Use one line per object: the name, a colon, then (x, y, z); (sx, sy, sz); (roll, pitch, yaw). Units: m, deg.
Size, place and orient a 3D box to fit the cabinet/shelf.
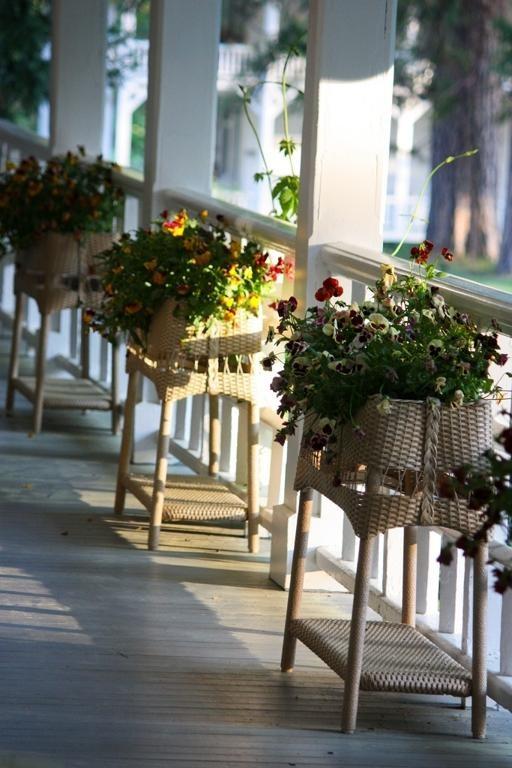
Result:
cabinet/shelf: (0.250, 0.362, 1.699); (0.326, 0.626, 0.598); (0, 4, -12)
